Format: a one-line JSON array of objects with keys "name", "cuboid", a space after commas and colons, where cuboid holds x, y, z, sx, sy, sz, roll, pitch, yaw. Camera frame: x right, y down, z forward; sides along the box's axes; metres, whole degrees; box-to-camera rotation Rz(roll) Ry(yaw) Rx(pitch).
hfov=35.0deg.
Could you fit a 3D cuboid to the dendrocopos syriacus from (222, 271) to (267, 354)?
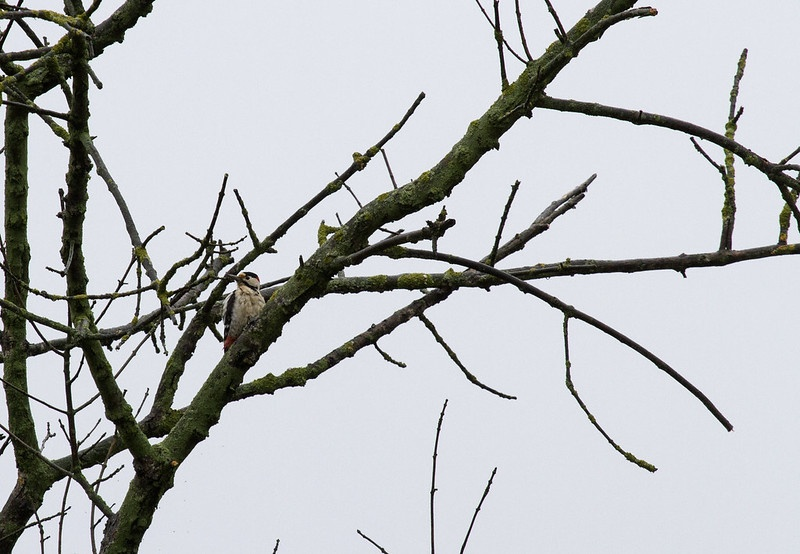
[{"name": "dendrocopos syriacus", "cuboid": [-1.456, 0.347, 11.767, 0.350, 0.622, 0.836, 13, -88, -10]}]
